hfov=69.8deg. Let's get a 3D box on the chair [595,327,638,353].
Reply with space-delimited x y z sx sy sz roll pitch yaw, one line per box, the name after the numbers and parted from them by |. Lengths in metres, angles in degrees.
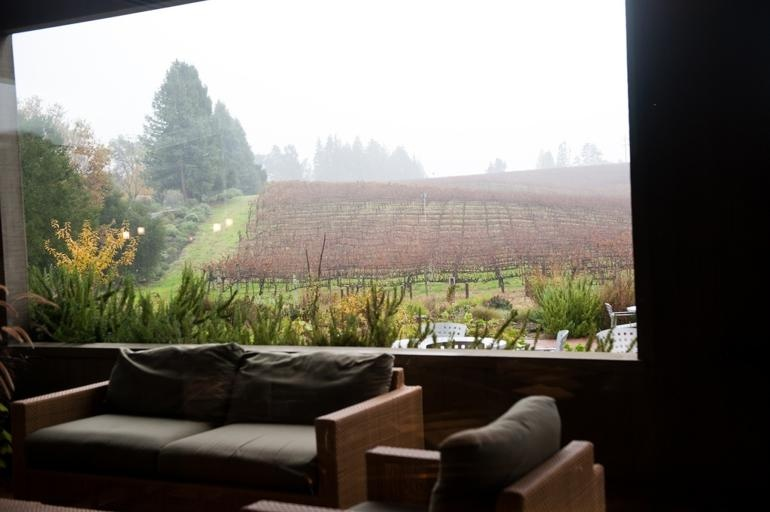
1.865 0.652 4.371 0.231 0.247 0.967 -6 -11 29 | chair
